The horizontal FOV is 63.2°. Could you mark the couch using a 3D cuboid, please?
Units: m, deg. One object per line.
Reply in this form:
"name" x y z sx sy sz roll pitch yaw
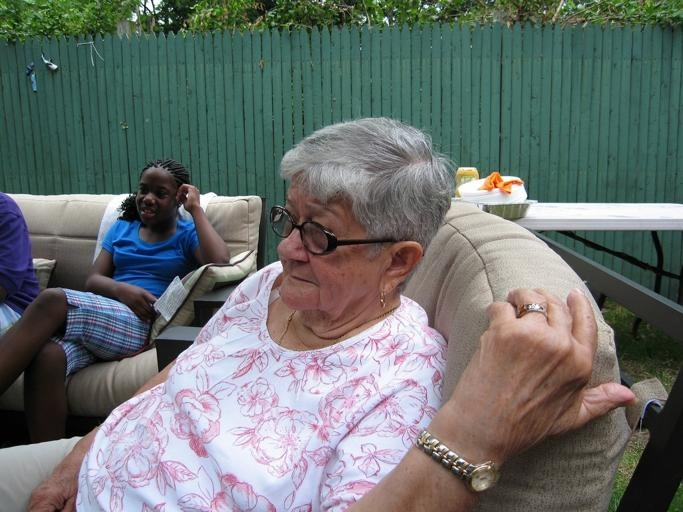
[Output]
"couch" -1.108 0.282 3.003 1.133 0.968 0.709 0 -1 13
